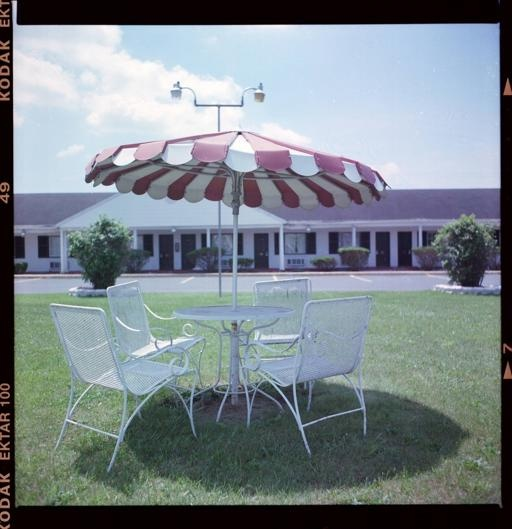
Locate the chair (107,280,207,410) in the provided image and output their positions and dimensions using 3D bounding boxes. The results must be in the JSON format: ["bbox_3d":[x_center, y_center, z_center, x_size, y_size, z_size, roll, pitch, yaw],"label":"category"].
[{"bbox_3d":[-0.910,0.725,6.005,0.838,1.185,0.926,-7,3,-20],"label":"chair"}]

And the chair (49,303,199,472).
[{"bbox_3d":[-1.029,0.857,5.221,0.953,1.471,1.195,-2,14,13],"label":"chair"}]

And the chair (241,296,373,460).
[{"bbox_3d":[0.412,0.819,5.463,0.803,1.317,0.980,-1,8,-25],"label":"chair"}]
